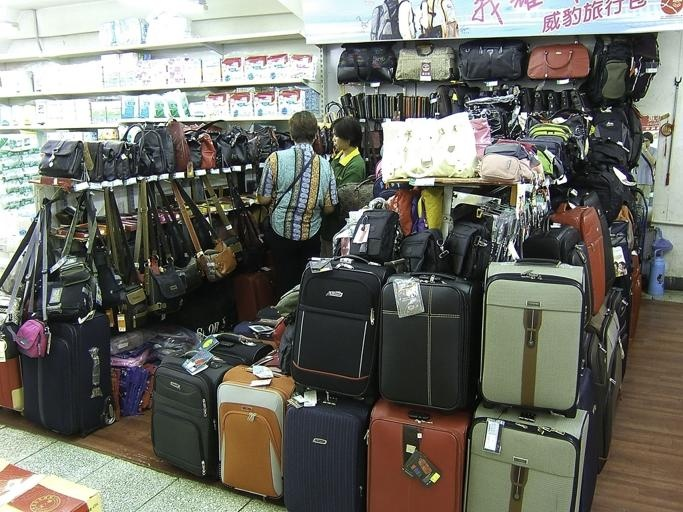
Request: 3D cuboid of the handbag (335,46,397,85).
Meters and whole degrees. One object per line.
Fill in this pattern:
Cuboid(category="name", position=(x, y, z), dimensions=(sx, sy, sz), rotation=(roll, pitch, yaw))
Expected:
Cuboid(category="handbag", position=(0.289, -2.255, 6.059), dimensions=(0.666, 0.485, 0.341), rotation=(4, 16, 16))

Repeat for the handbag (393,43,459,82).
Cuboid(category="handbag", position=(0.961, -2.176, 5.859), dimensions=(0.642, 0.447, 0.270), rotation=(5, -1, 18))
